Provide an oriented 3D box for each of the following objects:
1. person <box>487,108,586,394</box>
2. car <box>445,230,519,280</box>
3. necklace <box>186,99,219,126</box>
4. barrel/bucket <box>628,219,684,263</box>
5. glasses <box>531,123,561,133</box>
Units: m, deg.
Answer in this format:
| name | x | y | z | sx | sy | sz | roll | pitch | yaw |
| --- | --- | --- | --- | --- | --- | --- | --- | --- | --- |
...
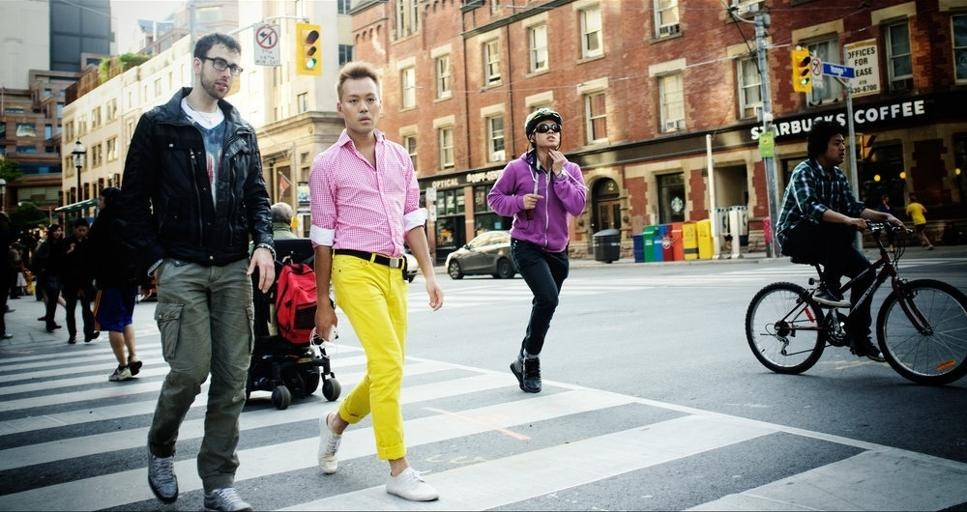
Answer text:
| name | x | y | z | sx | sy | sz | roll | pitch | yaw |
| --- | --- | --- | --- | --- | --- | --- | --- | --- | --- |
| person | 0.732 | -0.093 | 10.183 | 0.911 | 3.849 | 1.165 | 8 | 17 | 44 |
| car | 0.687 | 0.003 | 29.334 | 2.646 | 1.855 | 4.815 | 0 | -1 | -42 |
| necklace | -3.083 | -1.533 | 7.915 | 0.305 | 0.110 | 0.280 | 28 | -6 | 18 |
| barrel/bucket | 7.415 | -0.527 | 30.319 | 2.175 | 1.634 | 0.688 | 3 | 13 | 27 |
| glasses | 0.871 | -1.766 | 10.042 | 0.372 | 0.115 | 0.172 | -2 | 11 | 0 |
